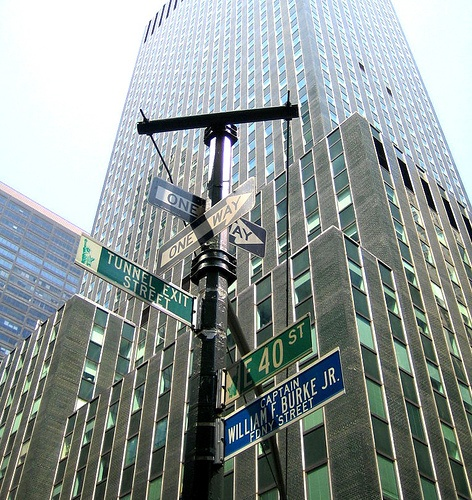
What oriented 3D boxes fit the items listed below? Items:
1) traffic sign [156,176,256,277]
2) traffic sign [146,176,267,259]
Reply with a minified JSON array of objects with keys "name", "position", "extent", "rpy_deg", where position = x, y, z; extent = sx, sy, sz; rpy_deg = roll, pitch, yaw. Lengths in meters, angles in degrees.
[{"name":"traffic sign","position":[-0.422,-0.331,7.161],"extent":[1.641,1.030,0.367],"rpy_deg":[-29,-45,29]},{"name":"traffic sign","position":[-0.445,-0.405,7.083],"extent":[1.203,0.545,1.242],"rpy_deg":[-26,-51,39]}]
